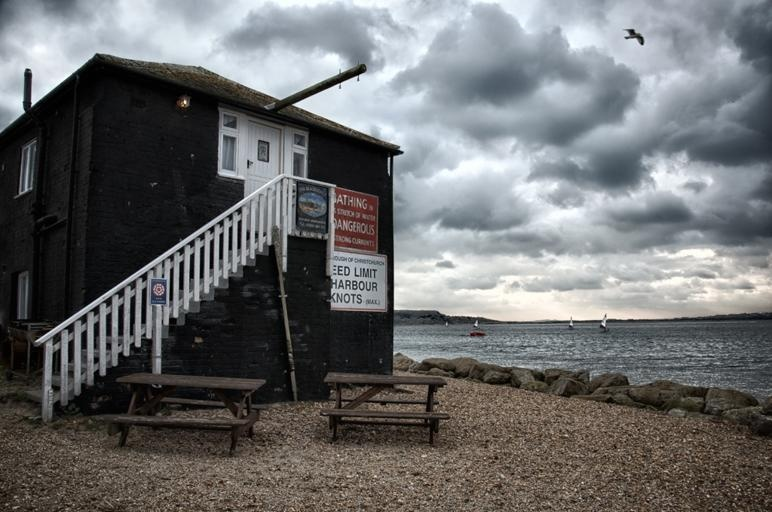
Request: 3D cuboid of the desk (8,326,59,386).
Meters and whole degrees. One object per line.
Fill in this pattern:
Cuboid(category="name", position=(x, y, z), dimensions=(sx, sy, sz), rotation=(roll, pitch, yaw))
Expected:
Cuboid(category="desk", position=(-8.579, 2.433, 16.246), dimensions=(0.798, 1.391, 1.532), rotation=(4, -9, -35))

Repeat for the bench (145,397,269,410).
Cuboid(category="bench", position=(-3.975, 3.176, 14.328), dimensions=(1.800, 0.284, 0.090), rotation=(-7, -22, 20))
